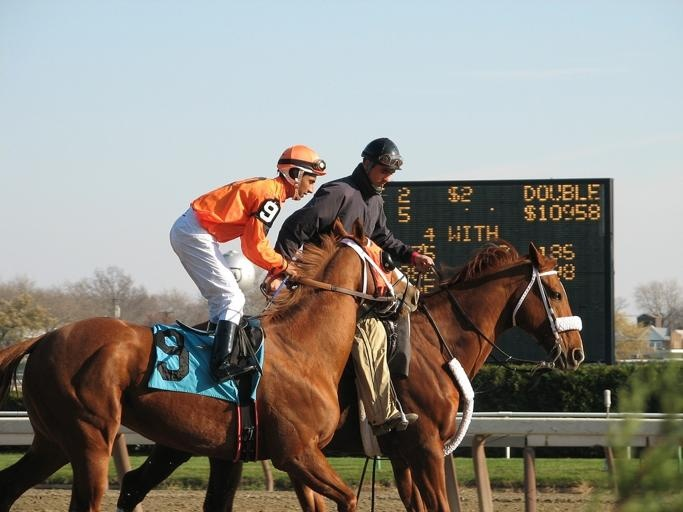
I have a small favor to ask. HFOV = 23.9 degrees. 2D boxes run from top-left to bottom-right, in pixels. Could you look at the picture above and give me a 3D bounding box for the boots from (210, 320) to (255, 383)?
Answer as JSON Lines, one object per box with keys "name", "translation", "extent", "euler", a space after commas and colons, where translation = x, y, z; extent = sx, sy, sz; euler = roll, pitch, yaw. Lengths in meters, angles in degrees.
{"name": "boots", "translation": [-0.819, 0.695, 11.901], "extent": [0.454, 0.397, 0.266], "euler": [3, 11, -18]}
